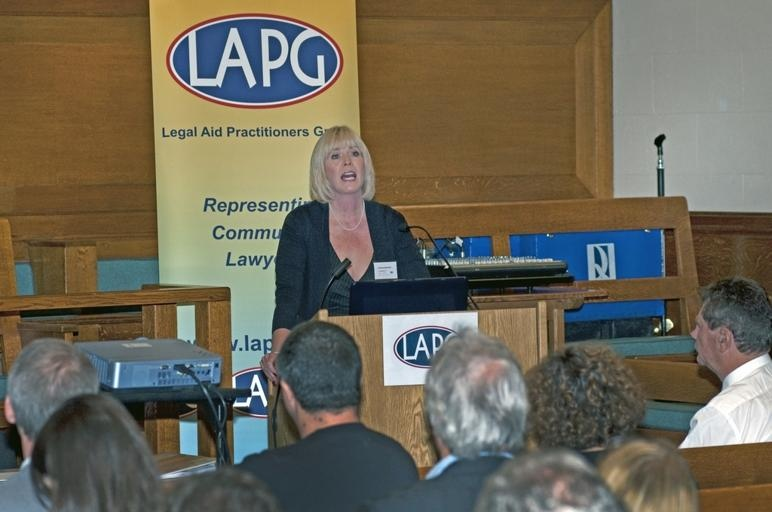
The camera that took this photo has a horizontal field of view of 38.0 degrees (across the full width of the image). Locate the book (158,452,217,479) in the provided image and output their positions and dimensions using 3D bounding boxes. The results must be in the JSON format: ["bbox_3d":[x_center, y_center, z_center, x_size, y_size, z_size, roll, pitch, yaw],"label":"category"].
[{"bbox_3d":[-0.907,0.953,5.117,0.256,0.060,0.240,3,3,26],"label":"book"}]

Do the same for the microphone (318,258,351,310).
[{"bbox_3d":[-0.263,0.144,5.803,0.170,0.206,0.413,-1,0,-2],"label":"microphone"}]

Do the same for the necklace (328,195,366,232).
[{"bbox_3d":[-0.224,-0.228,6.082,0.176,0.174,0.051,-9,-3,-19],"label":"necklace"}]

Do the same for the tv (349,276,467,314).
[{"bbox_3d":[0.106,0.197,5.456,0.572,0.146,0.096,-1,0,-2],"label":"tv"}]
